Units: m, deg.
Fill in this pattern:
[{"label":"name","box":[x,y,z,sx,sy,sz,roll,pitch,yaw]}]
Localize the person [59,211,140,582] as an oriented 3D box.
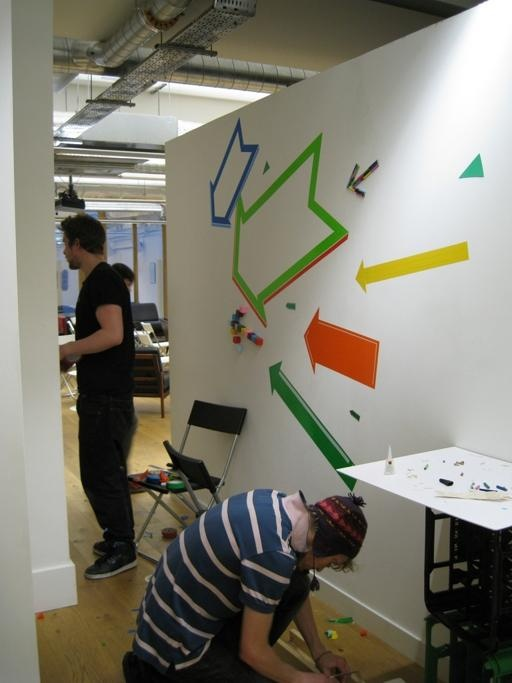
[{"label":"person","box":[-0.943,0.309,3.137,0.417,2.179,0.487,-1,2,-14]}]
